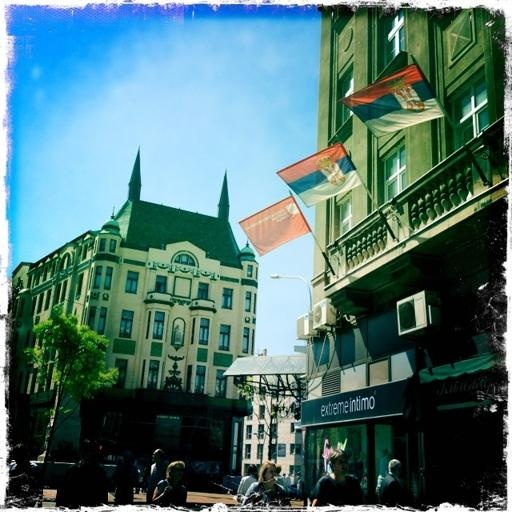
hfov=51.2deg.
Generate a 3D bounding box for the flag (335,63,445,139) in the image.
[{"bbox_3d":[2.986,-3.242,11.412,0.734,1.354,1.981,17,-27,-36],"label":"flag"}]
